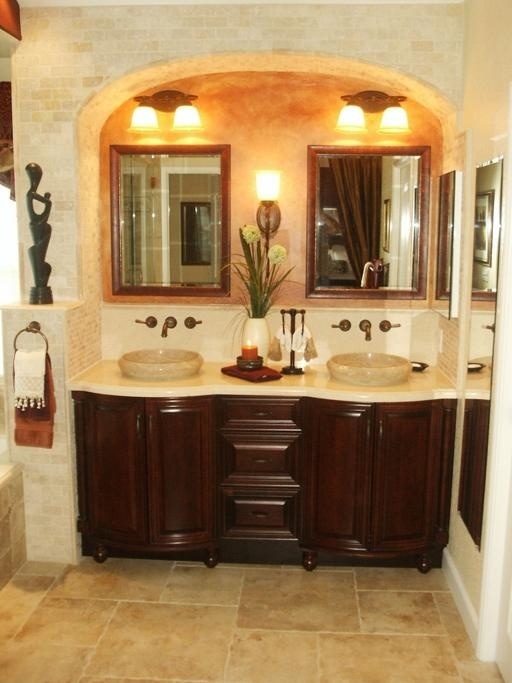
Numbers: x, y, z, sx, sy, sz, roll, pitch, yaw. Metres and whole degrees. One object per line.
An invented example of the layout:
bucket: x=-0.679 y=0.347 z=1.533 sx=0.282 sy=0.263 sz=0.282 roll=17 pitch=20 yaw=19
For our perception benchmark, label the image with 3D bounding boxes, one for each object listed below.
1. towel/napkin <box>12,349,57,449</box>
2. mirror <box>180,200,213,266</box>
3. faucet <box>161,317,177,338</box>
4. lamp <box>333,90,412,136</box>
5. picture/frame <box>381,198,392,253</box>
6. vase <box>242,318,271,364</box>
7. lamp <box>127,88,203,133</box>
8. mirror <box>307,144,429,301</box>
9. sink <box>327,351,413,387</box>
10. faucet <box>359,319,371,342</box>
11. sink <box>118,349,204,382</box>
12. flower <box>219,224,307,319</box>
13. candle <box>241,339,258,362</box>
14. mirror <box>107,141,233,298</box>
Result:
towel/napkin: x=-1.002 y=0.273 z=2.748 sx=0.177 sy=0.481 sz=0.157 roll=-3 pitch=8 yaw=-21
mirror: x=-0.322 y=-0.570 z=3.258 sx=0.159 sy=0.321 sz=0.015 roll=1 pitch=8 yaw=3
faucet: x=-0.461 y=-0.084 z=3.193 sx=0.065 sy=0.123 sz=0.066 roll=9 pitch=10 yaw=-1
lamp: x=0.578 y=-1.136 z=3.023 sx=0.339 sy=0.218 sz=0.338 roll=2 pitch=7 yaw=12
picture/frame: x=0.679 y=-0.599 z=3.200 sx=0.044 sy=0.275 sz=0.019 roll=1 pitch=8 yaw=6
vase: x=0.001 y=-0.002 z=3.088 sx=0.212 sy=0.296 sz=0.193 roll=1 pitch=1 yaw=1
lamp: x=-0.456 y=-1.163 z=3.083 sx=0.268 sy=0.144 sz=0.108 roll=-2 pitch=17 yaw=-6
mirror: x=0.599 y=-0.656 z=3.205 sx=0.844 sy=1.031 sz=0.045 roll=1 pitch=6 yaw=1
sink: x=0.535 y=0.132 z=2.934 sx=0.379 sy=0.102 sz=0.483 roll=1 pitch=6 yaw=10
faucet: x=0.567 y=-0.051 z=3.204 sx=0.068 sy=0.119 sz=0.136 roll=2 pitch=7 yaw=11
sink: x=-0.464 y=0.115 z=2.972 sx=0.388 sy=0.105 sz=0.433 roll=0 pitch=6 yaw=-4
flower: x=0.039 y=-0.341 z=3.139 sx=0.372 sy=0.458 sz=0.386 roll=-1 pitch=7 yaw=-10
candle: x=-0.039 y=0.051 z=3.000 sx=0.093 sy=0.098 sz=0.091 roll=-1 pitch=4 yaw=-30
mirror: x=-0.448 y=-0.680 z=3.253 sx=0.861 sy=0.966 sz=0.041 roll=0 pitch=9 yaw=-1
